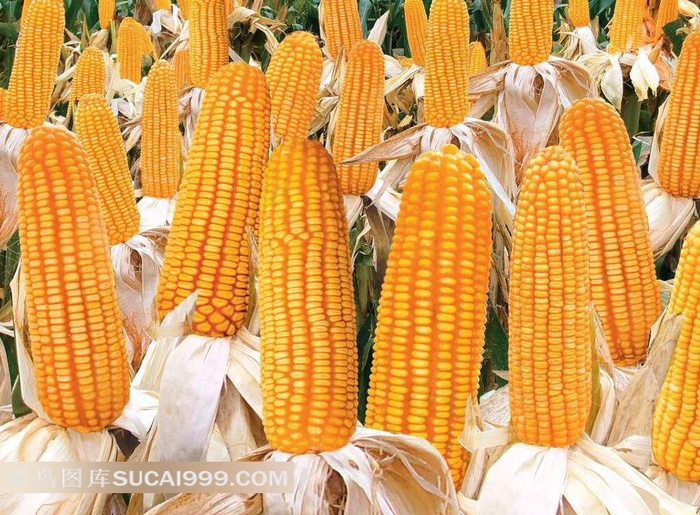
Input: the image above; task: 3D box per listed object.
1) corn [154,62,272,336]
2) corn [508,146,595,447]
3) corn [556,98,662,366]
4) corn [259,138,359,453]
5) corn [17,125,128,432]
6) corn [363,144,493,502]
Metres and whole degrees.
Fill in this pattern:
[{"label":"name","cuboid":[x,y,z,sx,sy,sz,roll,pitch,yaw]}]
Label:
[{"label":"corn","cuboid":[-0.499,-0.184,2.953,0.327,1.201,0.359,13,2,0]},{"label":"corn","cuboid":[0.727,0.159,2.598,0.290,1.049,0.341,2,24,7]},{"label":"corn","cuboid":[1.191,-0.124,3.365,0.379,1.366,0.349,-8,11,-14]},{"label":"corn","cuboid":[-0.135,0.144,2.510,0.321,1.113,0.301,0,0,0]},{"label":"corn","cuboid":[-1.012,0.081,2.838,0.343,1.206,0.331,-1,5,11]},{"label":"corn","cuboid":[0.297,0.228,2.627,0.334,1.235,0.335,6,8,11]}]
